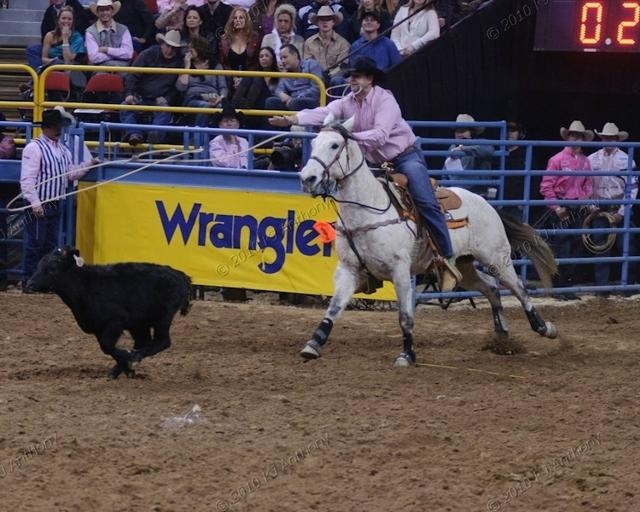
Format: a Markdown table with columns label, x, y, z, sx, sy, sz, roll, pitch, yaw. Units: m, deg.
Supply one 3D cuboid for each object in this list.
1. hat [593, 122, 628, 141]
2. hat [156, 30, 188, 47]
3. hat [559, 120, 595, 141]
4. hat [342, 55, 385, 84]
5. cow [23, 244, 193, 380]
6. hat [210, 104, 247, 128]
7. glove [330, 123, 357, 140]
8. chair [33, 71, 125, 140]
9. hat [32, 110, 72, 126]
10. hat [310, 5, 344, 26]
| label | x | y | z | sx | sy | sz | roll | pitch | yaw |
| --- | --- | --- | --- | --- | --- | --- | --- | --- | --- |
| hat | 4.488 | -1.891 | 15.539 | 0.395 | 0.148 | 0.454 | 3 | -13 | 39 |
| hat | -2.249 | -3.285 | 15.760 | 0.408 | 0.143 | 0.413 | 12 | -5 | -5 |
| hat | 3.859 | -1.891 | 15.328 | 0.440 | 0.168 | 0.492 | 4 | -15 | 18 |
| hat | 0.489 | -1.936 | 10.728 | 0.386 | 0.293 | 0.378 | 2 | 6 | 2 |
| cow | -2.126 | 0.620 | 10.422 | 1.754 | 1.052 | 0.510 | -1 | 1 | -19 |
| hat | -1.260 | -1.944 | 14.335 | 0.417 | 0.366 | 0.161 | -1 | -15 | -3 |
| glove | 0.248 | -1.217 | 10.171 | 0.257 | 0.073 | 0.163 | 6 | 15 | -27 |
| chair | -3.689 | -2.332 | 15.874 | 1.154 | 1.117 | 0.936 | 0 | 0 | -6 |
| hat | -3.617 | -1.830 | 13.855 | 0.365 | 0.119 | 0.276 | 10 | 37 | 36 |
| hat | 0.128 | -3.775 | 16.246 | 0.550 | 0.181 | 0.527 | -1 | -8 | 0 |
